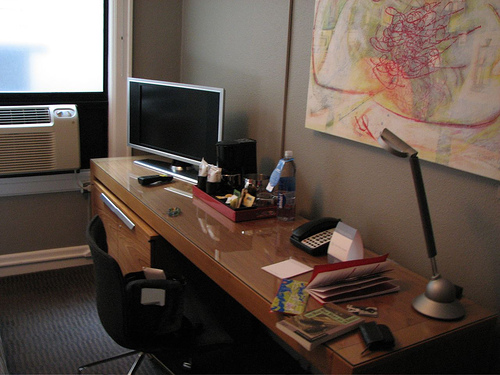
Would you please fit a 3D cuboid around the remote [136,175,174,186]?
[{"bbox_3d":[-0.645,-0.052,2.582,0.076,0.082,0.322,13,12,42],"label":"remote"}]

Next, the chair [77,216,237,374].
[{"bbox_3d":[-0.431,0.455,1.761,0.590,0.523,0.397,-1,19,-9],"label":"chair"}]

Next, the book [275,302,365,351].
[{"bbox_3d":[0.236,0.446,1.249,0.256,0.041,0.140,-8,21,-28],"label":"book"}]

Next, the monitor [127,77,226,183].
[{"bbox_3d":[-0.537,-0.431,2.831,1.003,0.659,0.268,16,21,35],"label":"monitor"}]

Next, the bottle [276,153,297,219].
[{"bbox_3d":[0.215,-0.006,2.130,0.122,0.398,0.258,4,19,7],"label":"bottle"}]
